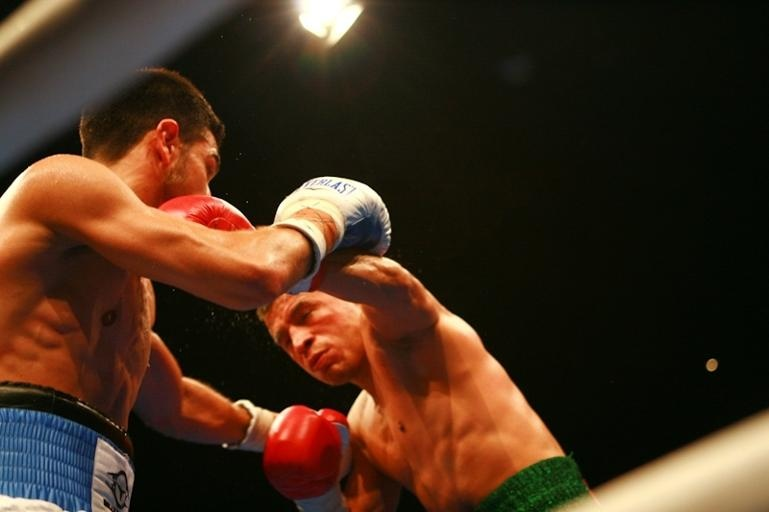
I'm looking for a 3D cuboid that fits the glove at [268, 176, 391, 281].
[{"bbox_3d":[-0.271,-0.138,3.294,0.472,0.682,0.306,17,-65,30],"label":"glove"}]
